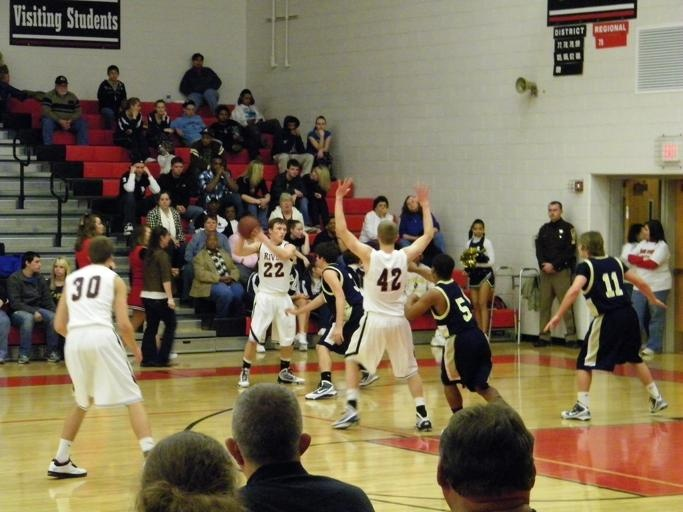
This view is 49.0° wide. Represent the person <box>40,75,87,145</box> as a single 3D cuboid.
[{"bbox_3d":[-5.332,-2.786,14.432,0.852,1.362,0.726,-1,5,-31],"label":"person"}]

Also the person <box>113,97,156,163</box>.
[{"bbox_3d":[-4.026,-2.390,14.402,0.670,1.239,1.298,0,4,-16],"label":"person"}]

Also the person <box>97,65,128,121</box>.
[{"bbox_3d":[-4.716,-3.157,15.610,0.574,1.459,0.802,-5,19,-26],"label":"person"}]

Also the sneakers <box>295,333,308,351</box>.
[{"bbox_3d":[-0.651,1.420,12.337,0.161,0.233,0.510,0,-18,-3],"label":"sneakers"}]

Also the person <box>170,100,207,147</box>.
[{"bbox_3d":[-3.135,-2.744,15.626,0.749,1.010,0.536,-2,-6,-32],"label":"person"}]

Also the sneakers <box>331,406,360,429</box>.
[{"bbox_3d":[0.063,1.677,7.760,0.131,0.203,0.383,3,-11,-41],"label":"sneakers"}]

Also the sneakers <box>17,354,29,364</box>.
[{"bbox_3d":[-4.646,1.486,10.941,0.136,0.147,0.127,0,4,-24],"label":"sneakers"}]

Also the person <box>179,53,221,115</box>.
[{"bbox_3d":[-3.190,-3.794,17.129,0.866,1.746,0.898,-8,6,-15],"label":"person"}]

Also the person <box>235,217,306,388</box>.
[{"bbox_3d":[-0.940,0.541,9.509,0.783,2.232,0.618,0,0,-19],"label":"person"}]

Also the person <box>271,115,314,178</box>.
[{"bbox_3d":[-1.031,-2.181,15.556,0.907,1.473,0.893,-3,0,25],"label":"person"}]

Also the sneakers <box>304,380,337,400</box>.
[{"bbox_3d":[-0.237,1.635,9.259,0.484,0.253,0.167,-6,-1,-12],"label":"sneakers"}]

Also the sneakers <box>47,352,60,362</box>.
[{"bbox_3d":[-4.255,1.494,11.092,0.233,0.106,0.087,1,3,43],"label":"sneakers"}]

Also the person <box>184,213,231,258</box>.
[{"bbox_3d":[-2.294,-0.273,12.288,0.895,0.957,0.589,0,1,-19],"label":"person"}]

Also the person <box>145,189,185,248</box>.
[{"bbox_3d":[-2.842,-0.596,12.207,0.578,0.904,0.677,2,-3,-25],"label":"person"}]

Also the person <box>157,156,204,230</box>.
[{"bbox_3d":[-2.918,-1.026,13.251,0.730,1.330,0.803,-9,24,-38],"label":"person"}]

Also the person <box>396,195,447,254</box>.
[{"bbox_3d":[1.457,-0.521,13.889,0.760,1.342,0.775,-10,3,6],"label":"person"}]

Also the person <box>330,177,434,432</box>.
[{"bbox_3d":[0.433,0.531,7.812,1.018,2.617,0.621,0,6,-2],"label":"person"}]

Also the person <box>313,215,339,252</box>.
[{"bbox_3d":[-0.147,-0.431,12.930,0.706,0.522,0.366,-8,12,-37],"label":"person"}]

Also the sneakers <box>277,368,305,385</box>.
[{"bbox_3d":[-0.695,1.585,9.990,0.451,0.299,0.163,1,7,-8],"label":"sneakers"}]

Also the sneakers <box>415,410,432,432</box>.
[{"bbox_3d":[0.854,1.697,7.713,0.097,0.125,0.258,-1,3,-7],"label":"sneakers"}]

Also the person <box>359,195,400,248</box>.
[{"bbox_3d":[0.688,-0.626,13.720,0.523,0.943,0.813,3,5,3],"label":"person"}]

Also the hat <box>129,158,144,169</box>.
[{"bbox_3d":[-3.686,-1.661,13.460,0.250,0.290,0.364,2,14,-12],"label":"hat"}]

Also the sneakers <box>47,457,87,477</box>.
[{"bbox_3d":[-2.358,1.824,6.489,0.360,0.183,0.144,2,3,-17],"label":"sneakers"}]

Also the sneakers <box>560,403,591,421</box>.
[{"bbox_3d":[2.566,1.679,8.226,0.376,0.222,0.151,2,3,42],"label":"sneakers"}]

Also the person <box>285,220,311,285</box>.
[{"bbox_3d":[-0.728,-0.004,12.588,0.540,1.104,0.399,-4,-4,26],"label":"person"}]

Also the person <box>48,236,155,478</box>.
[{"bbox_3d":[-2.040,0.881,6.320,0.915,2.066,0.495,1,4,-8],"label":"person"}]

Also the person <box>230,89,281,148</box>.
[{"bbox_3d":[-1.853,-2.959,16.203,0.996,1.291,0.780,4,16,39],"label":"person"}]

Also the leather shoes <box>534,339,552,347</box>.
[{"bbox_3d":[3.501,1.484,12.922,0.309,0.132,0.123,2,-2,-16],"label":"leather shoes"}]

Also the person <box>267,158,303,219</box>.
[{"bbox_3d":[-0.985,-1.334,14.074,0.836,1.318,0.886,-1,3,-23],"label":"person"}]

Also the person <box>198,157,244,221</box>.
[{"bbox_3d":[-2.191,-1.171,13.555,0.905,1.262,0.646,-4,-5,39],"label":"person"}]

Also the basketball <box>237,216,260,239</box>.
[{"bbox_3d":[-1.046,-0.329,8.572,0.236,0.296,0.247,0,2,0],"label":"basketball"}]

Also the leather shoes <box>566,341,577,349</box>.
[{"bbox_3d":[3.881,1.486,12.617,0.100,0.172,0.162,0,-3,-29],"label":"leather shoes"}]

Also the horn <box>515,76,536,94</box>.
[{"bbox_3d":[3.270,-2.990,13.186,0.320,0.307,0.414,4,5,32],"label":"horn"}]

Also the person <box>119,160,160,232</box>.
[{"bbox_3d":[-3.380,-1.012,12.969,0.671,1.250,0.695,-4,-5,-1],"label":"person"}]

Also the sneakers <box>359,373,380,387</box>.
[{"bbox_3d":[0.361,1.638,9.887,0.127,0.148,0.341,-43,1,-41],"label":"sneakers"}]
